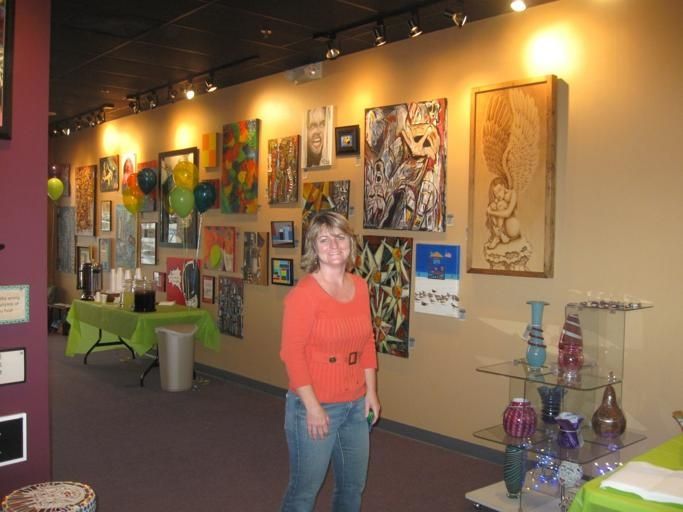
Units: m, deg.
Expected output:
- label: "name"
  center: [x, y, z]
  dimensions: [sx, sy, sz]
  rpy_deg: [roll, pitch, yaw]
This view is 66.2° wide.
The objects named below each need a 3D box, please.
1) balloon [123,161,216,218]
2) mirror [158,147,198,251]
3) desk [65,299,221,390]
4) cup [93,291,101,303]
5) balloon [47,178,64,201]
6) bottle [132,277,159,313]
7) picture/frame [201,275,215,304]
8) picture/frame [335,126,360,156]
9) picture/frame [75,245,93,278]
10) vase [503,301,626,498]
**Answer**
- label: "balloon"
  center: [-2.478, -0.944, 7.424]
  dimensions: [1.047, 0.519, 1.081]
  rpy_deg: [6, 5, 7]
- label: "mirror"
  center: [-2.368, -0.852, 7.643]
  dimensions: [0.065, 1.848, 1.422]
  rpy_deg: [1, 1, -39]
- label: "desk"
  center: [-2.988, 1.003, 7.601]
  dimensions: [2.286, 0.908, 1.257]
  rpy_deg: [1, 15, 35]
- label: "cup"
  center: [-3.716, 0.630, 7.943]
  dimensions: [0.103, 0.195, 0.185]
  rpy_deg: [1, -6, -16]
- label: "balloon"
  center: [-5.067, -1.198, 9.269]
  dimensions: [0.205, 0.373, 0.668]
  rpy_deg: [-1, 3, -27]
- label: "bottle"
  center: [-2.637, 0.582, 6.961]
  dimensions: [0.318, 0.398, 0.337]
  rpy_deg: [-5, -17, -2]
- label: "picture/frame"
  center: [-1.907, 0.476, 7.489]
  dimensions: [0.050, 0.518, 0.365]
  rpy_deg: [-1, 2, -36]
- label: "picture/frame"
  center: [0.073, -1.242, 5.628]
  dimensions: [0.295, 0.337, 0.031]
  rpy_deg: [3, 2, 42]
- label: "picture/frame"
  center: [-4.765, 0.097, 9.699]
  dimensions: [0.566, 0.755, 0.046]
  rpy_deg: [-3, -5, 45]
- label: "vase"
  center: [1.561, 1.056, 3.688]
  dimensions: [0.823, 1.441, 0.807]
  rpy_deg: [2, 3, 31]
